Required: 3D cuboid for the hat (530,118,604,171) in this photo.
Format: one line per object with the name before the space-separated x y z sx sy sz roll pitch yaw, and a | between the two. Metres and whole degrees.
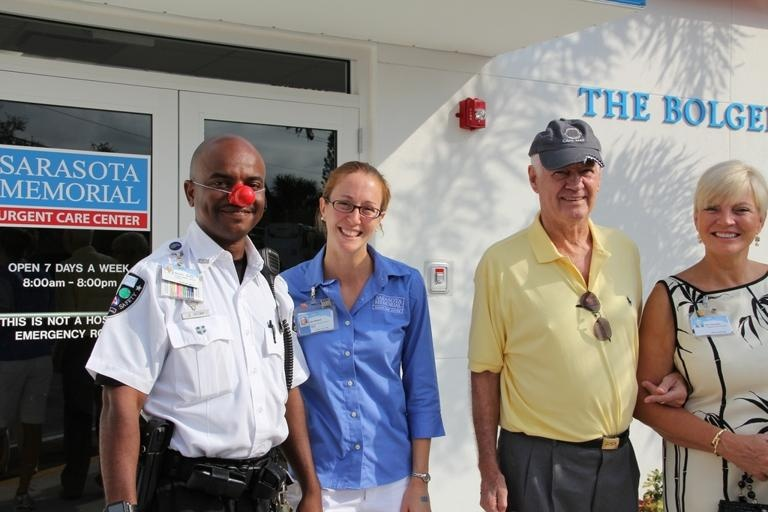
hat | 1.158 -0.719 5.372 0.293 0.213 0.395 -4 9 -10
